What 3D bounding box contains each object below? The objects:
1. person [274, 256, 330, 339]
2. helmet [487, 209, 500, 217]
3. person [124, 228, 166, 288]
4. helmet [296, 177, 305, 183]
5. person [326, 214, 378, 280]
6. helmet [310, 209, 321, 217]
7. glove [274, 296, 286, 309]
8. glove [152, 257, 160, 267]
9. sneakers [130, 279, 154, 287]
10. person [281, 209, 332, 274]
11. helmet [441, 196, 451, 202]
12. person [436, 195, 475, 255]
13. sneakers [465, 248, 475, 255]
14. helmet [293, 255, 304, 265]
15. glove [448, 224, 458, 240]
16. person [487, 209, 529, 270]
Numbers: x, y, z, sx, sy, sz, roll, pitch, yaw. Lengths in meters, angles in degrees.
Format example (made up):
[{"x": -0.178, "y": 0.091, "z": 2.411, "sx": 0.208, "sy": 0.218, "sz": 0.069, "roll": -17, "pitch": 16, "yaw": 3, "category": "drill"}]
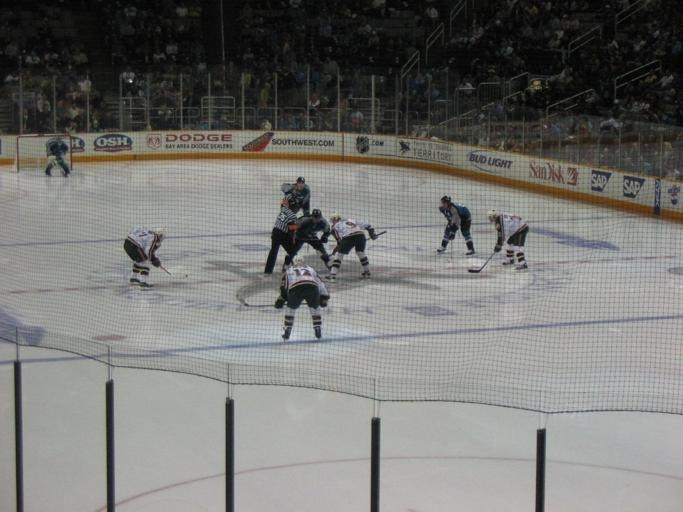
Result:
[{"x": -0.634, "y": 0.664, "z": 16.940, "sx": 0.832, "sy": 0.534, "sz": 1.627, "roll": 1, "pitch": 53, "yaw": -7, "category": "person"}, {"x": 3.020, "y": -0.854, "z": 20.192, "sx": 0.190, "sy": 0.177, "sz": 0.149, "roll": -22, "pitch": 32, "yaw": 6, "category": "helmet"}, {"x": -3.606, "y": -0.006, "z": 19.200, "sx": 0.693, "sy": 0.991, "sz": 0.684, "roll": 6, "pitch": 14, "yaw": 24, "category": "person"}, {"x": -0.824, "y": -1.599, "z": 20.732, "sx": 0.122, "sy": 0.092, "sz": 0.173, "roll": 1, "pitch": -5, "yaw": -12, "category": "helmet"}, {"x": 0.172, "y": -0.208, "z": 19.530, "sx": 1.010, "sy": 1.177, "sz": 0.486, "roll": -6, "pitch": 14, "yaw": -26, "category": "person"}, {"x": -0.475, "y": -0.855, "z": 19.126, "sx": 0.175, "sy": 0.138, "sz": 0.407, "roll": -1, "pitch": 13, "yaw": -4, "category": "helmet"}, {"x": -1.039, "y": 0.769, "z": 17.622, "sx": 0.143, "sy": 0.217, "sz": 0.216, "roll": 14, "pitch": 15, "yaw": -10, "category": "glove"}, {"x": -3.422, "y": 0.076, "z": 18.946, "sx": 0.134, "sy": 0.056, "sz": 0.194, "roll": -16, "pitch": -41, "yaw": 38, "category": "glove"}, {"x": -3.759, "y": 0.480, "z": 19.091, "sx": 0.466, "sy": 0.205, "sz": 0.160, "roll": 5, "pitch": 9, "yaw": -5, "category": "sneakers"}, {"x": -0.684, "y": -0.297, "z": 19.290, "sx": 1.020, "sy": 1.331, "sz": 0.759, "roll": 2, "pitch": 23, "yaw": -17, "category": "person"}, {"x": 2.161, "y": -1.201, "z": 20.932, "sx": 0.164, "sy": 0.132, "sz": 0.123, "roll": 1, "pitch": 6, "yaw": -2, "category": "helmet"}, {"x": 2.444, "y": -0.758, "z": 21.488, "sx": 0.773, "sy": 1.214, "sz": 1.140, "roll": 2, "pitch": 13, "yaw": 7, "category": "person"}, {"x": 2.665, "y": -0.125, "z": 21.207, "sx": 0.226, "sy": 0.146, "sz": 0.080, "roll": 1, "pitch": 12, "yaw": 14, "category": "sneakers"}, {"x": -0.718, "y": 0.040, "z": 17.011, "sx": 0.122, "sy": 0.149, "sz": 0.158, "roll": 1, "pitch": 6, "yaw": -2, "category": "helmet"}, {"x": 2.255, "y": -0.533, "z": 21.205, "sx": 0.122, "sy": 0.264, "sz": 0.259, "roll": 17, "pitch": -8, "yaw": 29, "category": "glove"}, {"x": 3.347, "y": -0.377, "z": 20.252, "sx": 0.742, "sy": 1.102, "sz": 0.539, "roll": 2, "pitch": 13, "yaw": 11, "category": "person"}]
